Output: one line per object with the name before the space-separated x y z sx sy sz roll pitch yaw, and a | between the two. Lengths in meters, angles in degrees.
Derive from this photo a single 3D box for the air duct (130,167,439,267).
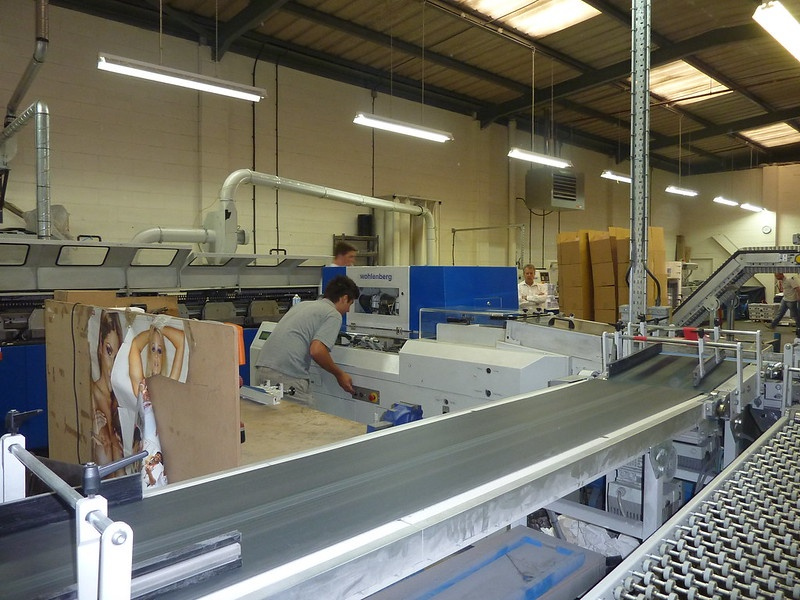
air duct | -0.905 -0.729 6.289 3.267 0.814 0.237 3 8 -37

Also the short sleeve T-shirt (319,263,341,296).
short sleeve T-shirt | -0.502 -0.143 4.625 0.175 0.222 0.310 1 -2 -17

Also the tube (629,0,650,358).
tube | 1.299 -0.748 3.526 0.109 1.723 0.249 1 4 19

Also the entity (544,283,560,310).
entity | 1.553 -0.030 6.673 0.152 0.302 0.318 -1 0 18

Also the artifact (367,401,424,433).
artifact | -0.035 0.592 3.122 0.162 0.105 0.239 8 14 43

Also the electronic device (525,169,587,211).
electronic device | 2.078 -1.463 8.771 0.793 0.503 0.462 -2 3 -40

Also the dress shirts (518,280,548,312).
dress shirts | 1.368 -0.040 6.700 0.302 0.362 0.214 -1 -8 8

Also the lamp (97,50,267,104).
lamp | -1.501 -1.523 4.538 1.175 0.080 0.207 14 -9 2

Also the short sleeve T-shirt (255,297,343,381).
short sleeve T-shirt | -0.581 0.198 3.614 0.478 0.483 0.285 3 -14 43

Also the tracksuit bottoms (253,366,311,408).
tracksuit bottoms | -0.619 0.449 3.475 0.254 0.089 0.198 12 10 31
